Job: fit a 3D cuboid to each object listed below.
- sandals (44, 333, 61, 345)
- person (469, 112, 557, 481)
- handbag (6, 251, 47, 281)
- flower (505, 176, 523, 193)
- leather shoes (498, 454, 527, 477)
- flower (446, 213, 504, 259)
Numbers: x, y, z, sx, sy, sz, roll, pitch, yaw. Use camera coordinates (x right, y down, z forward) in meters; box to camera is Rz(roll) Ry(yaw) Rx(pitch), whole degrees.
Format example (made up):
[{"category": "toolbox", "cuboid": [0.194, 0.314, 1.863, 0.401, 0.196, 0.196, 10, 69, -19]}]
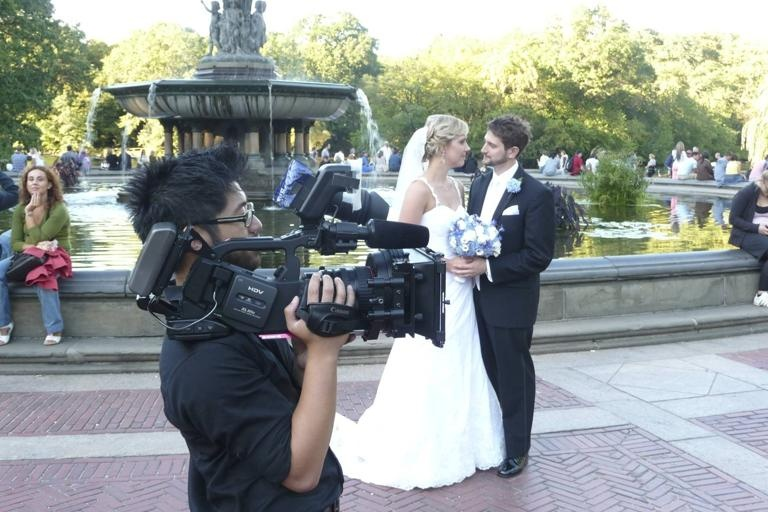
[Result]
[{"category": "sandals", "cuboid": [-3.735, 0.923, 7.735, 0.175, 0.123, 0.103, -1, 6, -23]}, {"category": "person", "cuboid": [1.056, 0.312, 5.993, 0.719, 3.060, 0.603, 5, 7, 32]}, {"category": "handbag", "cuboid": [-4.075, 0.132, 7.744, 0.478, 0.345, 0.183, 3, 6, 19]}, {"category": "flower", "cuboid": [1.097, -0.607, 5.851, 0.126, 0.112, 0.074, -8, 36, -13]}, {"category": "leather shoes", "cuboid": [1.089, 1.767, 5.871, 0.266, 0.104, 0.132, -10, 4, -38]}, {"category": "flower", "cuboid": [0.827, -0.066, 5.917, 0.460, 0.267, 0.440, 21, 33, 2]}]
